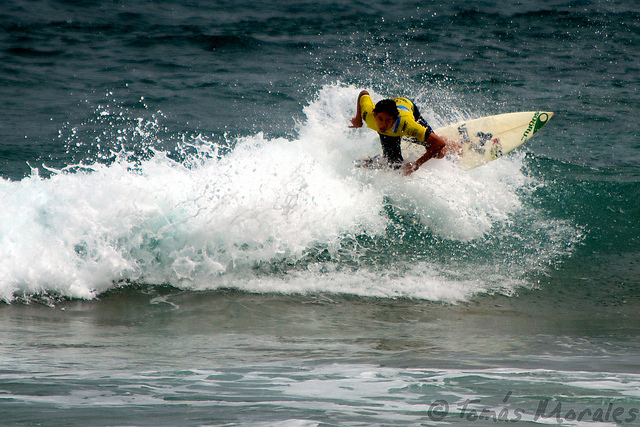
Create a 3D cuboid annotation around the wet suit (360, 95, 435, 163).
[{"bbox_3d":[1.691,-1.864,22.565,1.689,1.545,0.902,7,48,9],"label":"wet suit"}]
